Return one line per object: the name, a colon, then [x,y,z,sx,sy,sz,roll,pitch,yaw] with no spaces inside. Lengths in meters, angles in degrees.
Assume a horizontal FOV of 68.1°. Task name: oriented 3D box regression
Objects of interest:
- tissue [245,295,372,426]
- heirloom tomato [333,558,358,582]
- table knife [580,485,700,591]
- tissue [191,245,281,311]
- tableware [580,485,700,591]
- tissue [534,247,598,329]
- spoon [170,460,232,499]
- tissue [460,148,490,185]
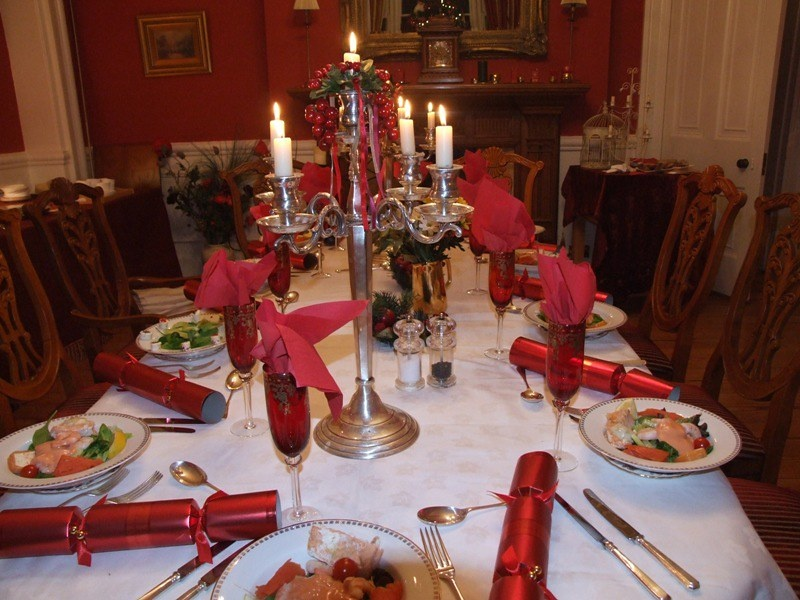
tissue: [-0.175,0.102,1.122,0.163,0.228,0.221,6,26,18]
heirloom tomato: [-0.085,0.419,0.918,0.028,0.031,0.031,4,49,-17]
table knife: [0.411,0.410,1.050,0.046,0.015,0.301,-19,22,-11]
tissue: [-0.346,-0.065,1.389,0.171,0.089,0.112,-10,0,-44]
tableware: [0.409,0.401,1.046,0.046,0.015,0.301,-19,22,-11]
tissue: [0.340,-0.017,1.228,0.105,0.145,0.120,-1,3,-33]
spoon: [-0.392,0.345,1.176,0.176,0.025,0.054,25,29,39]
tissue: [0.276,-0.495,2.243,0.125,0.196,0.059,0,3,0]
